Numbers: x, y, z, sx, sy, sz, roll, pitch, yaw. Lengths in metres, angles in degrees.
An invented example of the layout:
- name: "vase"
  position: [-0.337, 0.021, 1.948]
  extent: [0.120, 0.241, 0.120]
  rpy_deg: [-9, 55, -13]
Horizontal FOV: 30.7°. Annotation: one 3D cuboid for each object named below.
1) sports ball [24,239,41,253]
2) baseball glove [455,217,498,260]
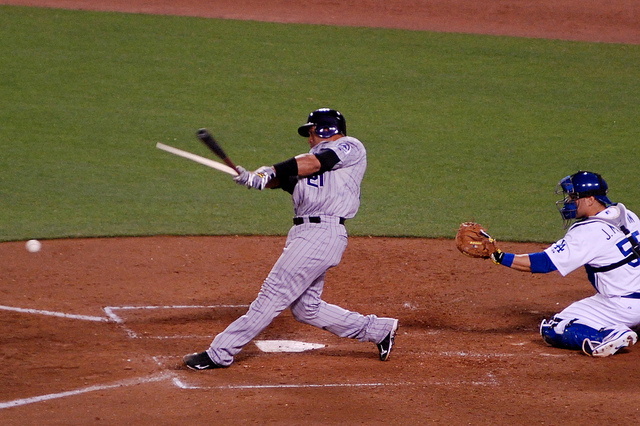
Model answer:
- name: "sports ball"
  position: [-4.910, 0.558, 20.066]
  extent: [0.256, 0.108, 0.237]
  rpy_deg: [7, 29, -4]
- name: "baseball glove"
  position: [2.333, 0.434, 17.590]
  extent: [0.619, 0.526, 0.293]
  rpy_deg: [13, 19, 26]
